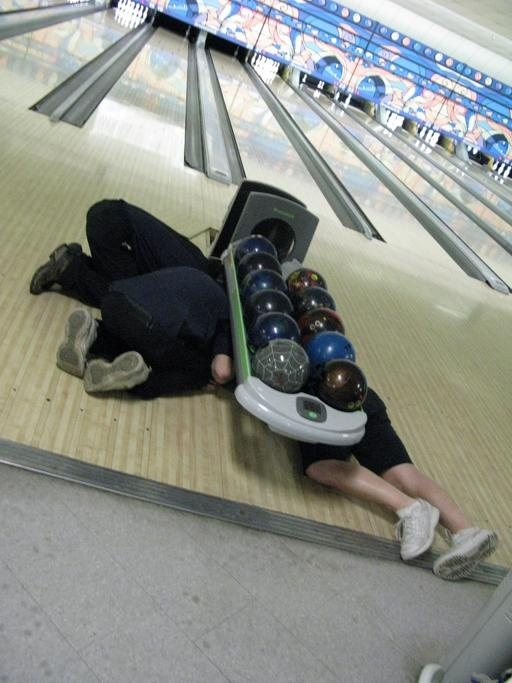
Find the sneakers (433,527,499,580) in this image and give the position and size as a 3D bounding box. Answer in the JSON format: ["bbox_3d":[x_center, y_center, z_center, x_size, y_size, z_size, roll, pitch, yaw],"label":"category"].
[{"bbox_3d":[0.565,0.576,1.242,0.075,0.178,0.091,49,2,-28],"label":"sneakers"}]

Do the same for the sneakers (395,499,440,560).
[{"bbox_3d":[0.444,0.515,1.312,0.104,0.082,0.187,44,46,-6],"label":"sneakers"}]

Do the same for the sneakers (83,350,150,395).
[{"bbox_3d":[-0.391,0.082,1.289,0.165,0.045,0.109,-17,50,-9],"label":"sneakers"}]

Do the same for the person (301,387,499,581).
[{"bbox_3d":[0.305,0.365,1.461,0.824,0.226,0.284,27,9,37],"label":"person"}]
